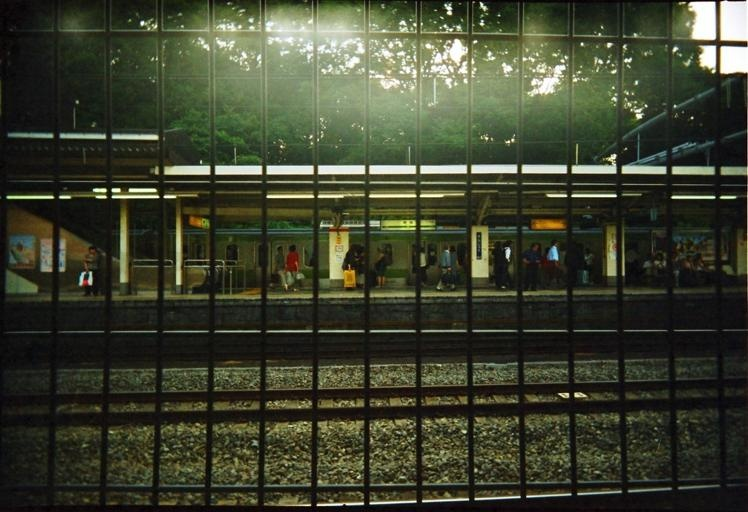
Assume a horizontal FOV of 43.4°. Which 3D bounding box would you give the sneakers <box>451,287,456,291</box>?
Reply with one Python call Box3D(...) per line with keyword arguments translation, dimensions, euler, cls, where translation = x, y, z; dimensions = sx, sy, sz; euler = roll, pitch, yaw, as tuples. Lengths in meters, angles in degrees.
Box3D(translation=(2.369, 0.982, 28.124), dimensions=(0.160, 0.094, 0.156), euler=(2, -19, 6), cls="sneakers")
